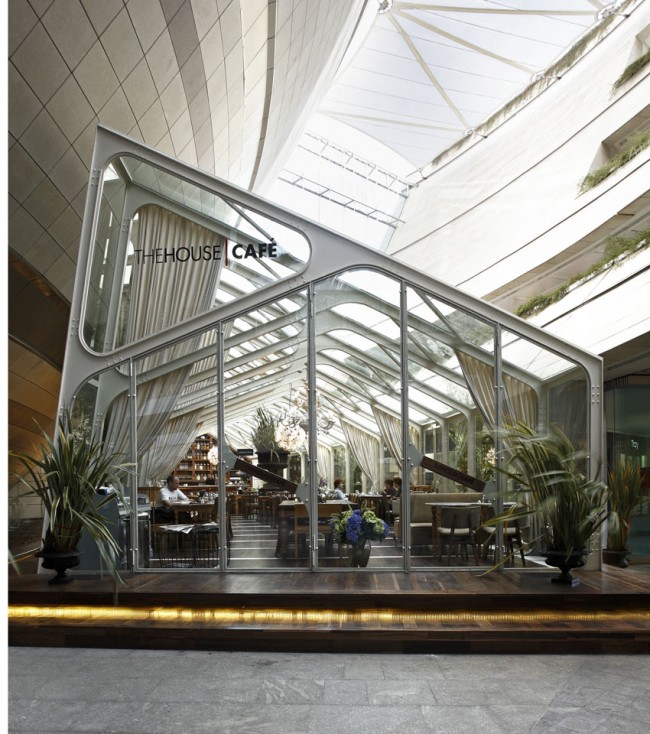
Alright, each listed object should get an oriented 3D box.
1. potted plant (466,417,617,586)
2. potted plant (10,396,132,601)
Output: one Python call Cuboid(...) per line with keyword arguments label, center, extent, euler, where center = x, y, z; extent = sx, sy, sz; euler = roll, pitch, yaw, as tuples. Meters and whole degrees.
Cuboid(label="potted plant", center=(2.263, 1.383, 5.952), extent=(1.277, 1.449, 1.101), euler=(6, -7, -30))
Cuboid(label="potted plant", center=(-2.543, 1.392, 5.832), extent=(1.339, 1.296, 1.023), euler=(6, -14, -44))
